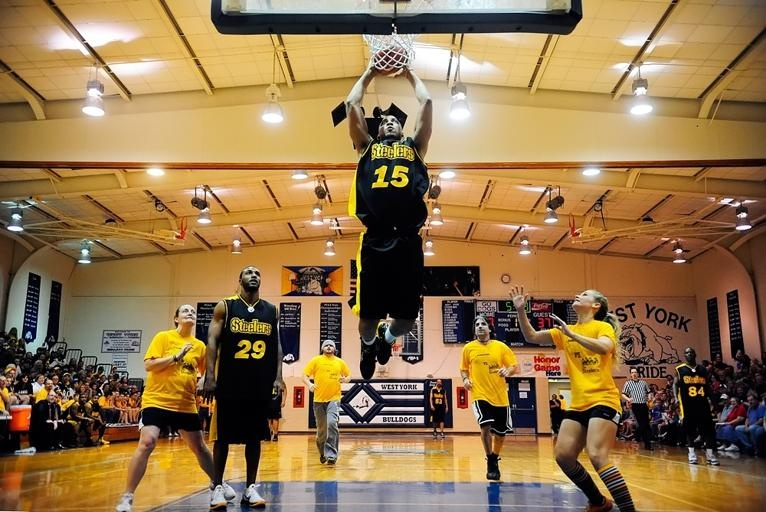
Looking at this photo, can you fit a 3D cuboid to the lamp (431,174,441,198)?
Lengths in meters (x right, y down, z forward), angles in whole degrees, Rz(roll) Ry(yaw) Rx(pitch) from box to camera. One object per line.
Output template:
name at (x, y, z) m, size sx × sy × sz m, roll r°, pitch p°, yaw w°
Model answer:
lamp at (1.513, -2.150, 14.884) m, size 0.206 × 0.666 × 0.489 m, roll 11°, pitch 4°, yaw 30°

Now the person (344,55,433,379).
person at (0.057, -0.507, 4.480) m, size 0.759 × 2.520 × 1.164 m, roll 0°, pitch -18°, yaw 5°

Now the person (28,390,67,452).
person at (-8.271, 3.992, 11.992) m, size 0.605 × 1.486 × 1.160 m, roll 7°, pitch -19°, yaw -17°

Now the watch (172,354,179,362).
watch at (-2.271, 1.135, 5.378) m, size 0.055 × 0.064 × 0.083 m, roll -2°, pitch -18°, yaw 10°

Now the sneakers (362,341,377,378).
sneakers at (-0.153, 1.012, 4.753) m, size 0.139 × 0.390 × 0.154 m, roll 0°, pitch 21°, yaw 4°

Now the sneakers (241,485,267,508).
sneakers at (-1.378, 2.553, 5.196) m, size 0.248 × 0.217 × 0.205 m, roll 5°, pitch -18°, yaw -12°

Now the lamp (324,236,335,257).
lamp at (-2.050, -0.382, 18.756) m, size 0.663 × 0.697 × 0.679 m, roll 2°, pitch -13°, yaw -2°

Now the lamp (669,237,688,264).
lamp at (11.458, -0.270, 18.858) m, size 0.776 × 0.726 × 0.756 m, roll 0°, pitch -37°, yaw 8°

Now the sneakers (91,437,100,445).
sneakers at (-8.122, 5.244, 13.736) m, size 0.160 × 0.154 × 0.282 m, roll 6°, pitch 2°, yaw -16°

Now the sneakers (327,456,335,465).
sneakers at (-0.914, 3.658, 8.682) m, size 0.149 × 0.125 × 0.165 m, roll 3°, pitch -18°, yaw -6°

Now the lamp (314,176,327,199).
lamp at (-1.986, -2.205, 15.316) m, size 0.308 × 0.524 × 0.546 m, roll -10°, pitch 30°, yaw -10°

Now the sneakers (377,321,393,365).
sneakers at (-0.002, 0.867, 4.789) m, size 0.144 × 0.412 × 0.167 m, roll -4°, pitch 12°, yaw -2°

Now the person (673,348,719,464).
person at (6.255, 3.010, 9.783) m, size 0.634 × 2.203 × 1.108 m, roll -9°, pitch -21°, yaw 29°

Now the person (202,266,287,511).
person at (-1.518, 1.384, 5.308) m, size 0.812 × 2.504 × 0.574 m, roll 4°, pitch -18°, yaw -7°

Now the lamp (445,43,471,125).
lamp at (1.634, -3.583, 10.417) m, size 0.463 × 1.987 × 1.360 m, roll -2°, pitch -18°, yaw 9°

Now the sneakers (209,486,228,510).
sneakers at (-1.685, 2.484, 5.009) m, size 0.150 × 0.222 × 0.169 m, roll 8°, pitch -19°, yaw -19°

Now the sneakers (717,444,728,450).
sneakers at (8.911, 5.046, 12.805) m, size 0.125 × 0.099 × 0.241 m, roll -3°, pitch -11°, yaw 7°

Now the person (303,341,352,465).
person at (-1.081, 2.712, 9.183) m, size 0.797 × 2.229 × 0.968 m, roll 2°, pitch -18°, yaw -4°
